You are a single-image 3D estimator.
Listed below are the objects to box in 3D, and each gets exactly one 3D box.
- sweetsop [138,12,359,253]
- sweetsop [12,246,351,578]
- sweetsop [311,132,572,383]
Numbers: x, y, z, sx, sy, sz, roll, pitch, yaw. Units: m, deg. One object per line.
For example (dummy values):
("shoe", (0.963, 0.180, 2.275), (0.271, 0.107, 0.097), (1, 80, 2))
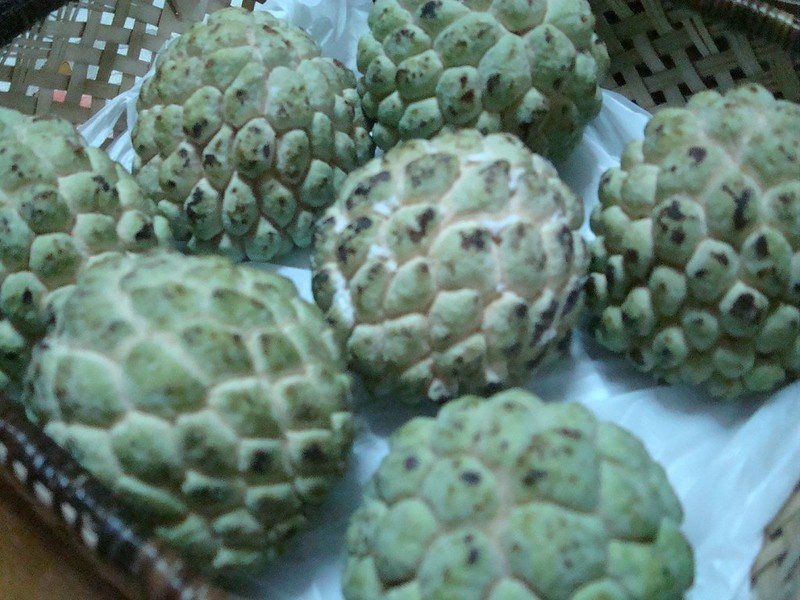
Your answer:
("sweetsop", (-0.212, -0.302, 1.507), (0.327, 0.378, 0.405), (1, 11, 10))
("sweetsop", (-0.316, 0.101, 1.251), (0.367, 0.424, 0.446), (-6, 8, -42))
("sweetsop", (0.045, -0.083, 1.295), (0.368, 0.314, 0.332), (-6, 18, -14))
